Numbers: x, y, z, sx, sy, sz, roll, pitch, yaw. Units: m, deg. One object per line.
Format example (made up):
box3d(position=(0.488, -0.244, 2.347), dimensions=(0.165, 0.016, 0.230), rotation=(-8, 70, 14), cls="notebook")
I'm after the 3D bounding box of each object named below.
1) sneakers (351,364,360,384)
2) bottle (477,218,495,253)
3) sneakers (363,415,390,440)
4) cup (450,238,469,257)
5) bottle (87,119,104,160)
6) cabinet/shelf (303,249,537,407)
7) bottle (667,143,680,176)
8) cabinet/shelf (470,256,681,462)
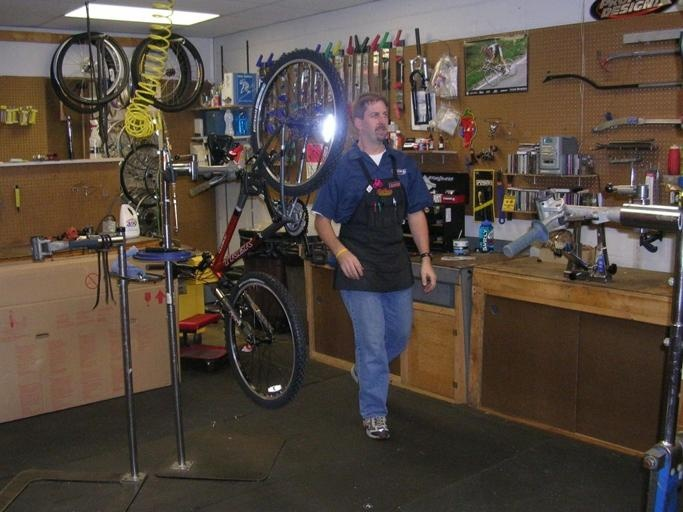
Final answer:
box3d(position=(0.098, 0.852, 4.305), dimensions=(0.079, 0.115, 0.245), rotation=(-2, 4, -3), cls="sneakers")
box3d(position=(1.224, -0.172, 4.972), dimensions=(0.146, 0.261, 0.130), rotation=(-3, 11, -9), cls="bottle")
box3d(position=(0.250, 1.164, 4.052), dimensions=(0.094, 0.107, 0.223), rotation=(0, -4, -13), cls="sneakers")
box3d(position=(0.969, -0.064, 4.881), dimensions=(0.121, 0.125, 0.124), rotation=(-1, 1, 0), cls="cup")
box3d(position=(-2.899, -1.390, 7.024), dimensions=(0.165, 0.442, 0.515), rotation=(-6, 12, -22), cls="bottle")
box3d(position=(0.545, 0.426, 5.291), dimensions=(1.656, 1.094, 0.892), rotation=(8, 16, 38), cls="cabinet/shelf")
box3d(position=(2.246, -0.647, 4.015), dimensions=(0.084, 0.191, 0.152), rotation=(4, 13, 28), cls="bottle")
box3d(position=(1.764, 0.604, 4.359), dimensions=(1.772, 1.394, 0.974), rotation=(4, 4, 45), cls="cabinet/shelf")
